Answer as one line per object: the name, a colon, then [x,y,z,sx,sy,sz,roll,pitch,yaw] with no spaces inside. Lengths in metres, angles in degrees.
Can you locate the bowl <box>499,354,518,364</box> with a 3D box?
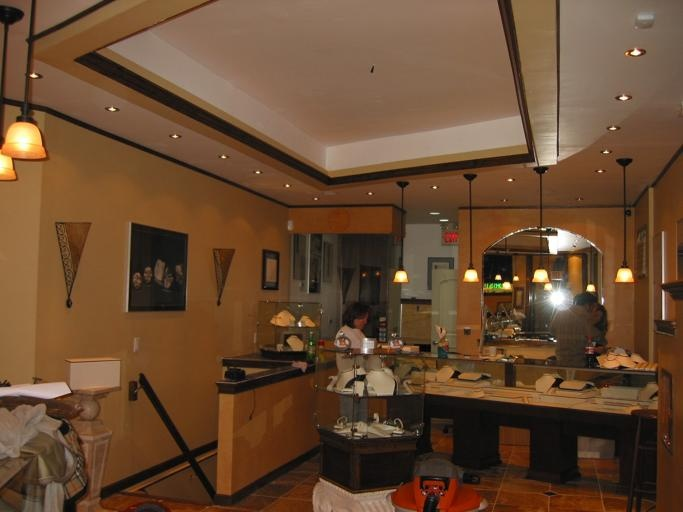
bowl: [1.871,1.158,6.201,0.188,0.087,0.264,0,-1,19]

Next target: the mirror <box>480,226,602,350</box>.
mirror: [2.977,0.492,8.126,1.786,2.101,0.087,0,0,15]

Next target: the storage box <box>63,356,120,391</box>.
storage box: [-2.227,1.022,4.957,0.488,0.271,0.310,5,-5,-40]

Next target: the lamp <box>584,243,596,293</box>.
lamp: [3.696,0.197,8.218,0.147,0.668,0.061,0,-6,21]

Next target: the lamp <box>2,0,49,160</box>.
lamp: [-2.146,-1.113,3.817,0.256,1.072,0.861,5,-7,-32]

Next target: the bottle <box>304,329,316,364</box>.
bottle: [-0.371,1.118,6.940,0.106,0.416,0.116,2,-6,0]

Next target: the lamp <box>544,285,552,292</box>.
lamp: [3.108,0.489,8.358,0.099,0.109,0.102,0,-9,-1]
